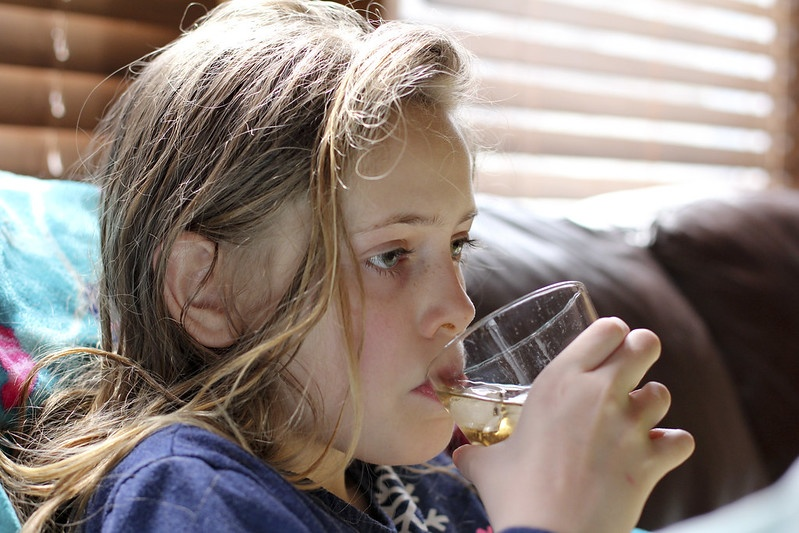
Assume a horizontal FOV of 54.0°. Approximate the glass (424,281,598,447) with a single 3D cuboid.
[{"bbox_3d":[0.207,0.153,1.531,0.227,0.296,0.287,58,22,6],"label":"glass"}]
